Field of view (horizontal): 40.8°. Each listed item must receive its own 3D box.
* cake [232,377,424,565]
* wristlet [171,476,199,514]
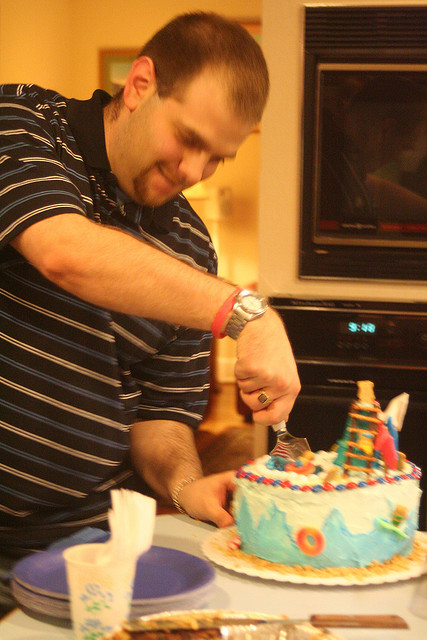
[{"bbox_3d":[0.193,0.243,1.114,0.331,0.292,0.329,-1,-2,34],"label":"cake"},{"bbox_3d":[-0.064,0.386,1.257,0.052,0.069,0.063,2,-6,-6],"label":"wristlet"}]
